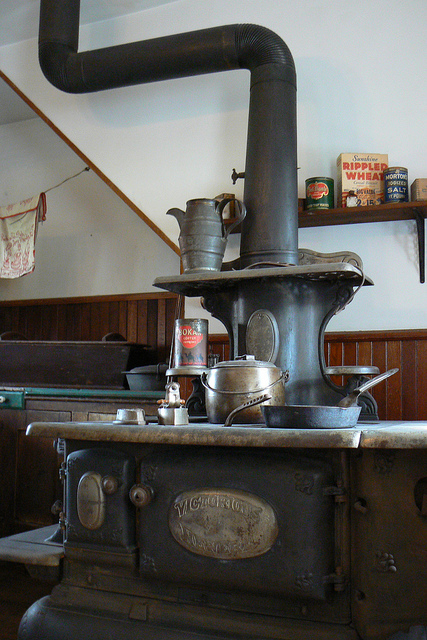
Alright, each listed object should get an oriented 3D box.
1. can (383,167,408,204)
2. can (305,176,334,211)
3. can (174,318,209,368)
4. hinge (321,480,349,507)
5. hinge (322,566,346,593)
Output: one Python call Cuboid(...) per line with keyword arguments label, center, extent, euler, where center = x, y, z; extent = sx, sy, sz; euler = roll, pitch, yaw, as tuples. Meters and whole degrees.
Cuboid(label="can", center=(0.746, -0.546, 3.305), extent=(0.100, 0.159, 0.165), euler=(1, -2, 12))
Cuboid(label="can", center=(0.440, -0.533, 3.369), extent=(0.132, 0.147, 0.134), euler=(1, 1, 5))
Cuboid(label="can", center=(-0.076, 0.081, 2.779), extent=(0.118, 0.167, 0.137), euler=(2, -2, -2))
Cuboid(label="hinge", center=(0.286, 0.414, 1.870), extent=(0.049, 0.053, 0.016), euler=(-4, 15, 3))
Cuboid(label="hinge", center=(0.277, 0.605, 1.862), extent=(0.052, 0.051, 0.041), euler=(-1, -5, 2))
